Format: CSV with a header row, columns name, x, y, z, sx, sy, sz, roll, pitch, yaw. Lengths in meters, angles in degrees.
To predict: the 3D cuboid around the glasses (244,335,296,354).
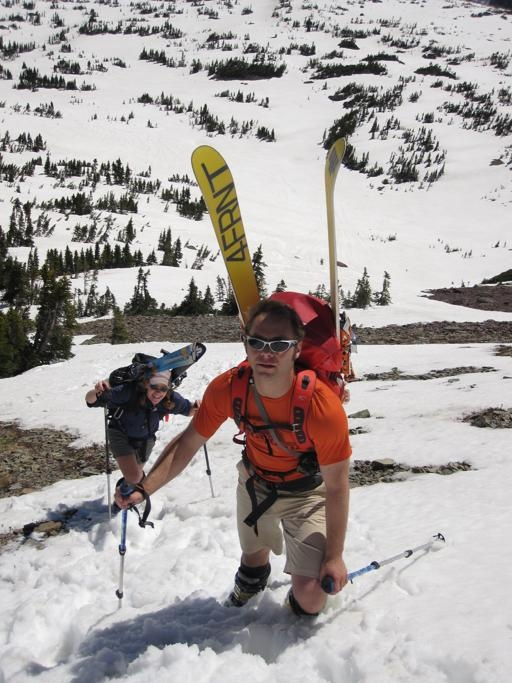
name,x,y,z,sx,sy,sz,roll,pitch,yaw
glasses,0.104,0.019,3.867,0.326,0.094,0.128,1,10,3
